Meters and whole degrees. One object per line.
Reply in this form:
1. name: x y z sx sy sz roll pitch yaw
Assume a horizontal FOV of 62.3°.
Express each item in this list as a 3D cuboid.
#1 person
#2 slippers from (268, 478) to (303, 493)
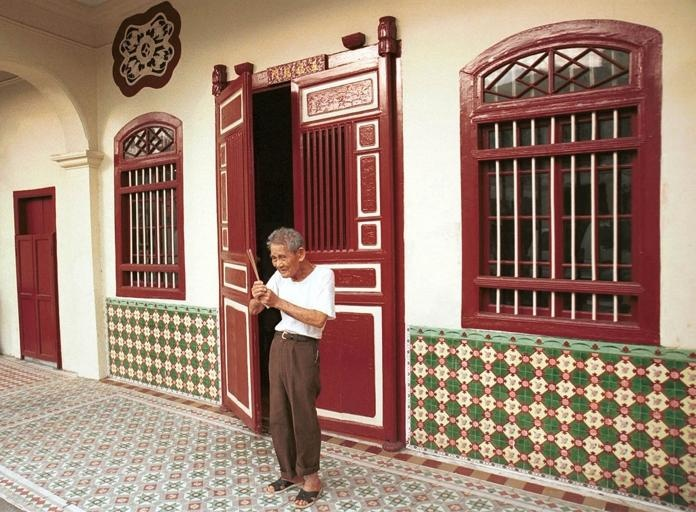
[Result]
1. person: -0.406 0.860 4.601 0.616 2.162 0.433 4 11 31
2. slippers: -0.500 1.882 4.783 0.277 0.109 0.114 9 -12 -29
